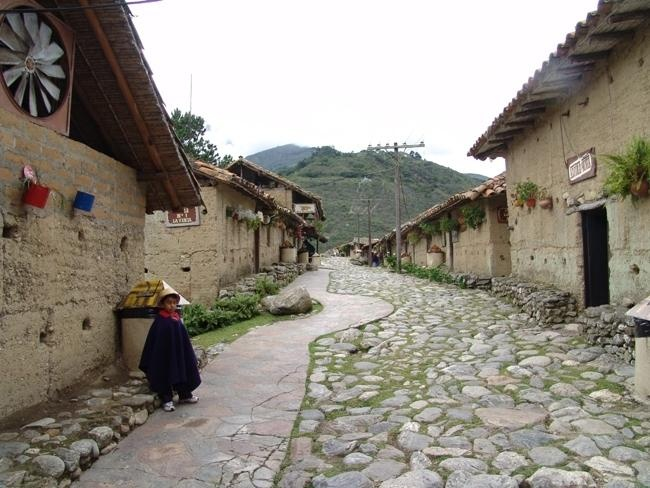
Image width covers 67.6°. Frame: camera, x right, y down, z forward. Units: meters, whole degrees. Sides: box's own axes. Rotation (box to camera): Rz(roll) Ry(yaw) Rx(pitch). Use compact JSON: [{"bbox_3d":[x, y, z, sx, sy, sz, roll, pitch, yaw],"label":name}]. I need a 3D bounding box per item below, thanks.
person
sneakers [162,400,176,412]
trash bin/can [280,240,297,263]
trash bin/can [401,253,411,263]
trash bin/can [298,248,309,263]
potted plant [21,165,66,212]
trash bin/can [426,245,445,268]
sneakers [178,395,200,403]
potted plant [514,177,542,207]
[{"bbox_3d":[-2.105,1.415,6.616,0.741,1.520,0.534,-8,7,-35],"label":"person"},{"bbox_3d":[-2.076,2.137,6.482,0.154,0.104,0.227,-6,5,-18],"label":"sneakers"},{"bbox_3d":[-1.673,0.385,22.948,0.881,0.737,0.881,-3,-7,8],"label":"trash bin/can"},{"bbox_3d":[4.683,0.784,28.016,0.481,0.360,0.491,0,-2,3],"label":"trash bin/can"},{"bbox_3d":[-1.204,0.687,27.267,0.616,0.634,0.609,0,-10,-7],"label":"trash bin/can"},{"bbox_3d":[-3.507,-0.706,5.937,0.338,0.539,0.456,-7,6,-30],"label":"potted plant"},{"bbox_3d":[4.595,0.509,20.092,0.521,0.847,0.822,-5,5,-3],"label":"trash bin/can"},{"bbox_3d":[-1.846,2.126,6.647,0.240,0.105,0.104,-2,-3,-3],"label":"sneakers"},{"bbox_3d":[4.561,-1.119,10.869,0.603,0.592,0.512,1,-6,-38],"label":"potted plant"}]
